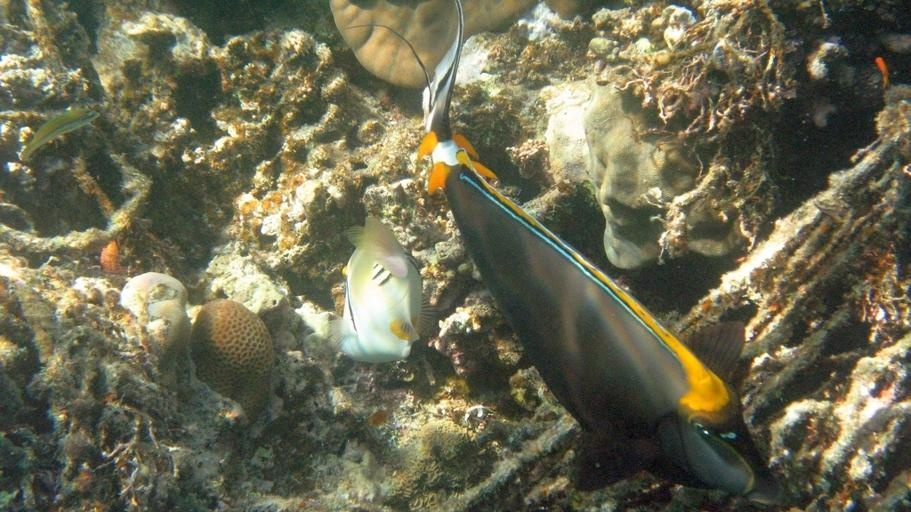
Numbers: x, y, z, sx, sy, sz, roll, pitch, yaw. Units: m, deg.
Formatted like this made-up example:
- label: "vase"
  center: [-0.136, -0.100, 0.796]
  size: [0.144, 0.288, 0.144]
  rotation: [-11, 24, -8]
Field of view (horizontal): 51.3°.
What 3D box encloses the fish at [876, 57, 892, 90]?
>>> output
- label: "fish"
  center: [4.066, -1.757, 9.019]
  size: [0.085, 0.335, 0.165]
  rotation: [-7, 1, 19]
